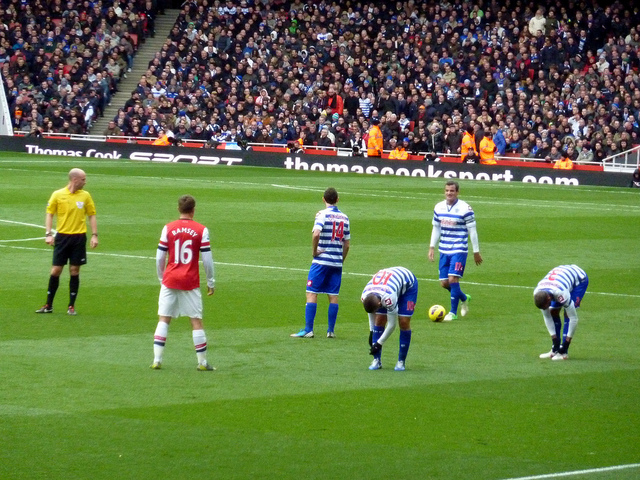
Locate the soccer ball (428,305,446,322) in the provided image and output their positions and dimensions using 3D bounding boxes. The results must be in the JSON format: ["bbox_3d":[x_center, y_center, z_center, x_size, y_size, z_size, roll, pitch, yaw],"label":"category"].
[{"bbox_3d":[1.936,1.173,18.146,0.264,0.251,0.246,-7,11,1],"label":"soccer ball"}]

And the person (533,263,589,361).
[{"bbox_3d":[3.359,1.034,15.484,0.557,1.336,1.348,3,2,24],"label":"person"}]

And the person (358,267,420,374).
[{"bbox_3d":[0.909,1.072,14.617,0.684,1.429,0.925,2,2,7],"label":"person"}]

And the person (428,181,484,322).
[{"bbox_3d":[2.206,0.150,18.585,0.819,2.314,0.802,3,2,31],"label":"person"}]

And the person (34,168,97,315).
[{"bbox_3d":[-4.106,-0.013,17.889,0.913,2.338,0.963,2,2,-13],"label":"person"}]

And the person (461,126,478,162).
[{"bbox_3d":[5.661,-3.695,41.706,0.607,1.380,0.797,2,2,2],"label":"person"}]
